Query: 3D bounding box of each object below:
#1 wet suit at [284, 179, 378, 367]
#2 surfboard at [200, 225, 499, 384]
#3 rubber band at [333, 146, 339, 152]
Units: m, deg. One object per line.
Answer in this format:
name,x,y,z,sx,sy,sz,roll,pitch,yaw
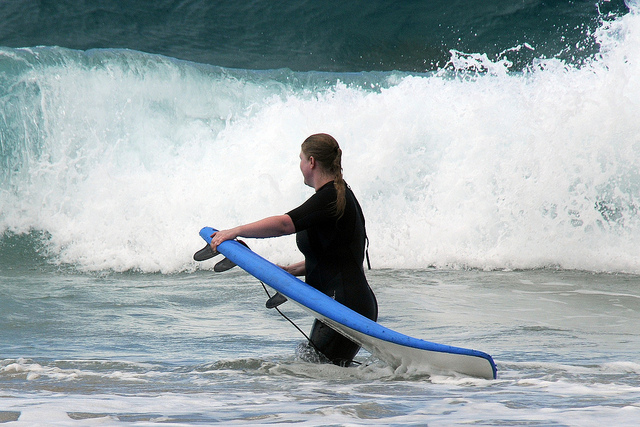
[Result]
wet suit,0.280,1.131,18.468,1.517,3.509,0.509,1,3,1
surfboard,0.516,1.974,20.566,5.820,0.587,0.802,23,-9,20
rubber band,0.307,-1.196,18.425,0.067,0.106,0.024,-1,3,-41
